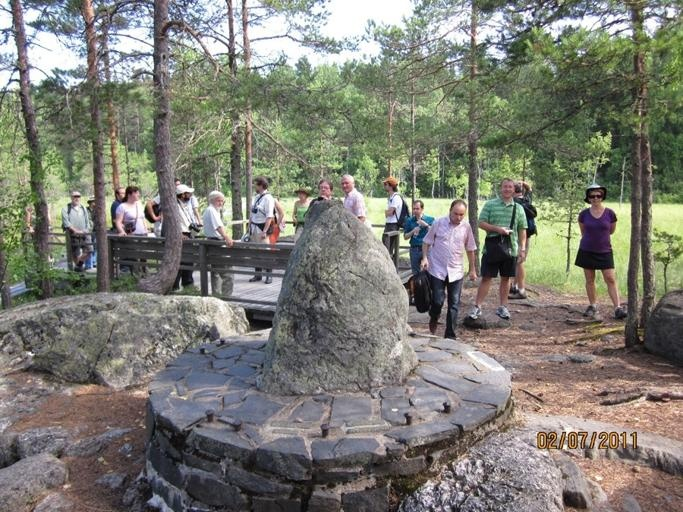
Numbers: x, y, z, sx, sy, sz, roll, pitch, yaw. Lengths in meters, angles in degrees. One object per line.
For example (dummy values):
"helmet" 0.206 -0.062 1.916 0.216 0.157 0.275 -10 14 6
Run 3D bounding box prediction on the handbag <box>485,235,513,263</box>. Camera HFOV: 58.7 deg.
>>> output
"handbag" 2.744 -0.111 10.632 0.391 0.586 0.230 1 4 16

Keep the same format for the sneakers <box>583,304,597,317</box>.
"sneakers" 4.614 1.030 11.241 0.271 0.226 0.165 -1 -1 2

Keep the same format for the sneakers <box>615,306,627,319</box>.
"sneakers" 4.829 1.005 10.591 0.168 0.245 0.319 8 11 24

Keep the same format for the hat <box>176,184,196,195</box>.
"hat" -3.154 -1.355 12.420 0.348 0.151 0.229 -11 17 -34

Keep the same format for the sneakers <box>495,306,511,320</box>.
"sneakers" 2.948 1.040 11.161 0.135 0.187 0.347 -1 1 -8

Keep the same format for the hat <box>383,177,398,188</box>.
"hat" 0.981 -1.487 12.226 0.262 0.152 0.199 19 17 16

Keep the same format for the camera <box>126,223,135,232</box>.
"camera" -4.578 -0.623 13.311 0.107 0.197 0.191 0 10 -3

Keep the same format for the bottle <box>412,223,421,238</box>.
"bottle" 1.498 -0.495 12.077 0.057 0.279 0.193 -6 14 -43

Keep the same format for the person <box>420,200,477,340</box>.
"person" 1.723 0.239 9.888 0.847 2.342 0.826 6 10 16

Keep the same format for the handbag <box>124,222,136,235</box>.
"handbag" -4.599 -0.618 13.302 0.218 0.250 0.161 -5 -2 18

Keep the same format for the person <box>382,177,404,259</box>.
"person" 1.025 -0.655 12.456 0.433 1.864 1.380 4 10 4

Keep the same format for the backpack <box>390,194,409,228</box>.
"backpack" 1.265 -0.942 12.702 0.423 0.953 0.568 3 6 -4
